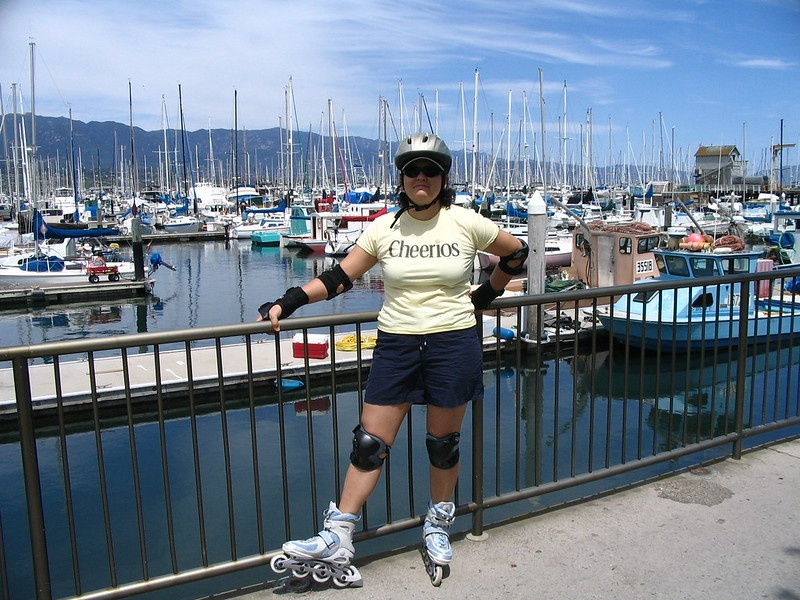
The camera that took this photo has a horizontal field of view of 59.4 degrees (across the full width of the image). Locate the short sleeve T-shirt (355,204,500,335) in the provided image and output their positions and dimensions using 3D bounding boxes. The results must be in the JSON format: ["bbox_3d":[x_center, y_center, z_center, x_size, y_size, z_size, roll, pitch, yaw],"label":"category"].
[{"bbox_3d":[0.163,-0.185,4.692,0.904,0.912,0.528,-1,-7,4],"label":"short sleeve T-shirt"}]

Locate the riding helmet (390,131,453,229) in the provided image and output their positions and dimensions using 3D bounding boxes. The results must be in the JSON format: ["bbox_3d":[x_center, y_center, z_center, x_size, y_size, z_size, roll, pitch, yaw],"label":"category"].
[{"bbox_3d":[0.148,-0.796,4.635,0.385,0.644,0.488,1,-10,-1],"label":"riding helmet"}]

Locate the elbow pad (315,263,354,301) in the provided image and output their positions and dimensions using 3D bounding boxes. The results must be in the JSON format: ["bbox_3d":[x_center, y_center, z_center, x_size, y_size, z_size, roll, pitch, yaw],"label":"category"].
[{"bbox_3d":[-0.438,-0.106,4.545,0.213,0.226,0.087,-30,28,-4],"label":"elbow pad"}]

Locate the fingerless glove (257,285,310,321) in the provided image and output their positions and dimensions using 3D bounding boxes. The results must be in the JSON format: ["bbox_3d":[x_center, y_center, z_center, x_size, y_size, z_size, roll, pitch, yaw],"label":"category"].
[{"bbox_3d":[-0.741,0.038,4.418,0.281,0.195,0.117,-26,-18,-8],"label":"fingerless glove"}]

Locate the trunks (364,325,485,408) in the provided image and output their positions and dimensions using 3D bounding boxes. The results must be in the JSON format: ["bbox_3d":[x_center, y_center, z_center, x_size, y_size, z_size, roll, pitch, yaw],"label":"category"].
[{"bbox_3d":[0.159,0.442,4.610,0.778,0.596,0.480,1,-4,-1],"label":"trunks"}]
